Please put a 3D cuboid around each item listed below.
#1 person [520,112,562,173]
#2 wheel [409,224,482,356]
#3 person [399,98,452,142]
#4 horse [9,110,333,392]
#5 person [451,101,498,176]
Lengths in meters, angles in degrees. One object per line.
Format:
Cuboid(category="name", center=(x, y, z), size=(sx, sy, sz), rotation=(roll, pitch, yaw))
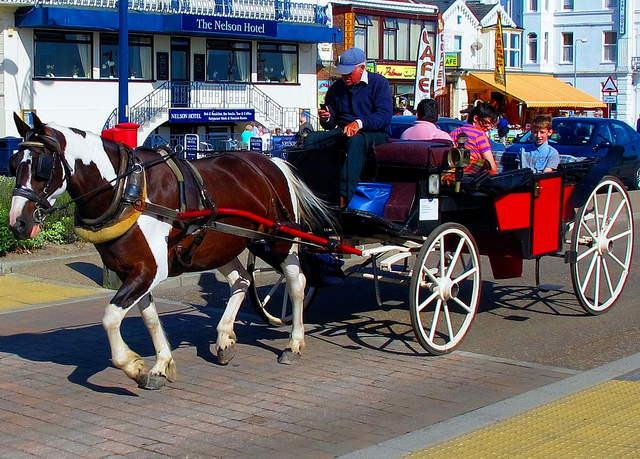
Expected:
Cuboid(category="person", center=(2.873, -1.156, 11.134), size=(0.511, 0.711, 0.856), rotation=(2, 13, 12))
Cuboid(category="wheel", center=(1.500, 0.688, 9.962), size=(0.449, 1.555, 1.682), rotation=(8, -12, -17))
Cuboid(category="person", center=(1.349, -1.383, 11.334), size=(0.410, 0.672, 0.854), rotation=(9, -3, -39))
Cuboid(category="horse", center=(-1.726, 0.130, 9.148), size=(3.277, 2.834, 1.628), rotation=(-9, 15, -34))
Cuboid(category="person", center=(1.995, -1.199, 11.107), size=(0.580, 0.848, 1.675), rotation=(2, 12, 11))
